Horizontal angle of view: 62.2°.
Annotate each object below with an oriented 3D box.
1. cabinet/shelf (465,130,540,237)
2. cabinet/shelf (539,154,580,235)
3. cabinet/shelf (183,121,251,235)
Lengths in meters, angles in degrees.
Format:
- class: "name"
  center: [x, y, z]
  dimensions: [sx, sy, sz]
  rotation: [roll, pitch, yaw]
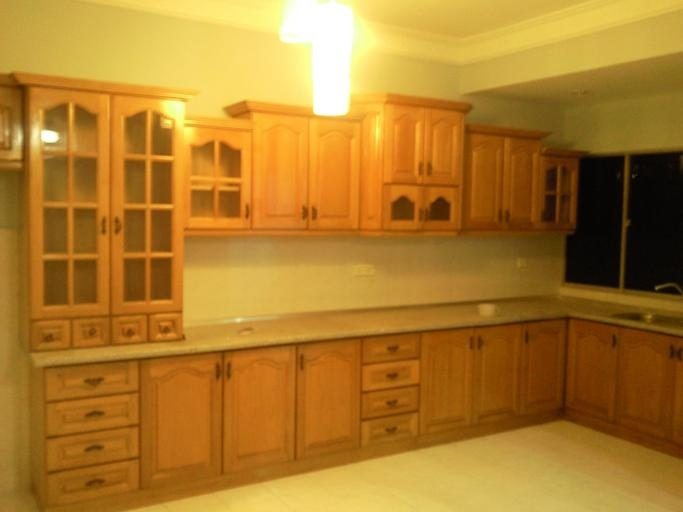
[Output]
- class: "cabinet/shelf"
  center: [1.401, -0.668, 5.018]
  dimensions: [0.929, 0.881, 0.407]
  rotation: [1, 9, -15]
- class: "cabinet/shelf"
  center: [2.050, -0.607, 5.365]
  dimensions: [0.529, 0.766, 0.165]
  rotation: [-6, 12, -39]
- class: "cabinet/shelf"
  center: [-0.882, -0.562, 3.960]
  dimensions: [0.458, 0.757, 0.193]
  rotation: [0, 9, -11]
